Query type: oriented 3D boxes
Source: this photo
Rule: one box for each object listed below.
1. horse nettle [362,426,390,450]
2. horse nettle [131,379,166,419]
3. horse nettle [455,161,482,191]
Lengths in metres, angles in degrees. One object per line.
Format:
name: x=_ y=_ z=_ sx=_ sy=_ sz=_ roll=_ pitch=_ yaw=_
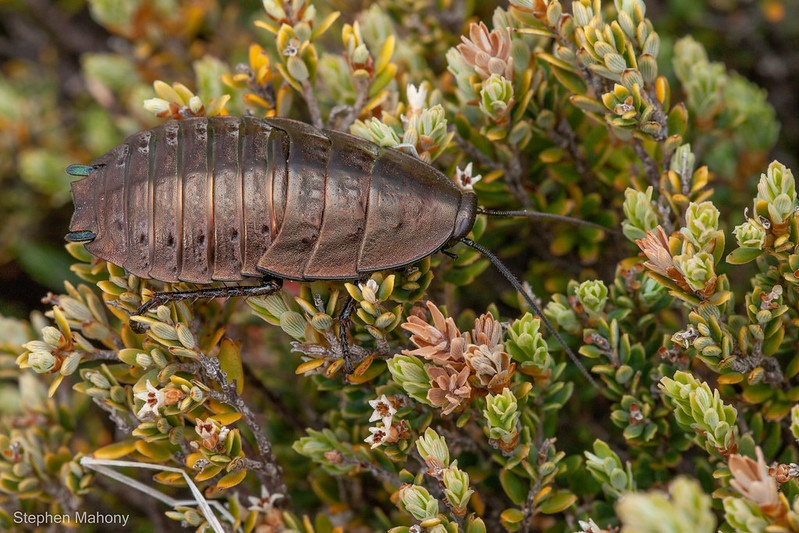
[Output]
horse nettle: x=-0.108 y=0.826 z=4.092 sx=0.116 sy=0.133 sz=0.099 roll=-30 pitch=60 yaw=-20
horse nettle: x=-1.174 y=0.623 z=4.075 sx=0.160 sy=0.069 sz=0.175 roll=-39 pitch=78 yaw=24
horse nettle: x=0.364 y=-0.459 z=4.462 sx=0.148 sy=0.072 sz=0.156 roll=-10 pitch=79 yaw=10
